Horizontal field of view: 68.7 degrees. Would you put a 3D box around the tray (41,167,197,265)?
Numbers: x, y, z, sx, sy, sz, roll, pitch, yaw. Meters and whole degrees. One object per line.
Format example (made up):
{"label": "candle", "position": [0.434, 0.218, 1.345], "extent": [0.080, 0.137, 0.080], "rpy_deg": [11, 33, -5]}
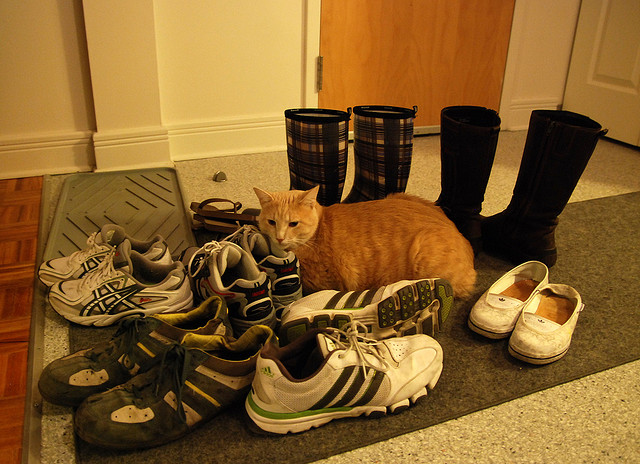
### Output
{"label": "tray", "position": [-0.829, -0.058, 1.995], "extent": [0.479, 0.019, 0.503], "rpy_deg": [-2, 37, -14]}

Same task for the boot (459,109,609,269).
{"label": "boot", "position": [0.700, -0.153, 1.722], "extent": [0.560, 0.503, 0.250], "rpy_deg": [12, 17, 25]}

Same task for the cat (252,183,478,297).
{"label": "cat", "position": [0.196, 0.007, 1.657], "extent": [0.781, 0.359, 0.478], "rpy_deg": [0, 22, 24]}
